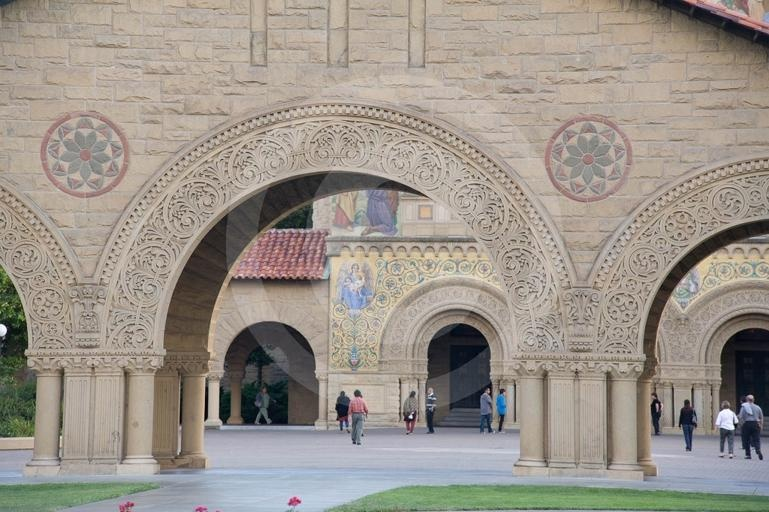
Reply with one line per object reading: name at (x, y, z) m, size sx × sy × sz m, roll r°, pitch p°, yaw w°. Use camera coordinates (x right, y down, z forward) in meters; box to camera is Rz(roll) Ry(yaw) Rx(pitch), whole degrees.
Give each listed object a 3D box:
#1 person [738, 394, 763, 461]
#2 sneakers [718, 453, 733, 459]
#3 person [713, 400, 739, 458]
person at (8.662, 4.096, 45.278) m, size 0.490 × 1.519 × 1.439 m, roll -4°, pitch -14°, yaw 11°
sneakers at (8.080, 4.783, 45.515) m, size 0.384 × 0.128 × 0.124 m, roll 2°, pitch 1°, yaw 34°
person at (8.137, 4.180, 45.690) m, size 0.583 × 1.087 × 0.405 m, roll 3°, pitch -11°, yaw 5°
